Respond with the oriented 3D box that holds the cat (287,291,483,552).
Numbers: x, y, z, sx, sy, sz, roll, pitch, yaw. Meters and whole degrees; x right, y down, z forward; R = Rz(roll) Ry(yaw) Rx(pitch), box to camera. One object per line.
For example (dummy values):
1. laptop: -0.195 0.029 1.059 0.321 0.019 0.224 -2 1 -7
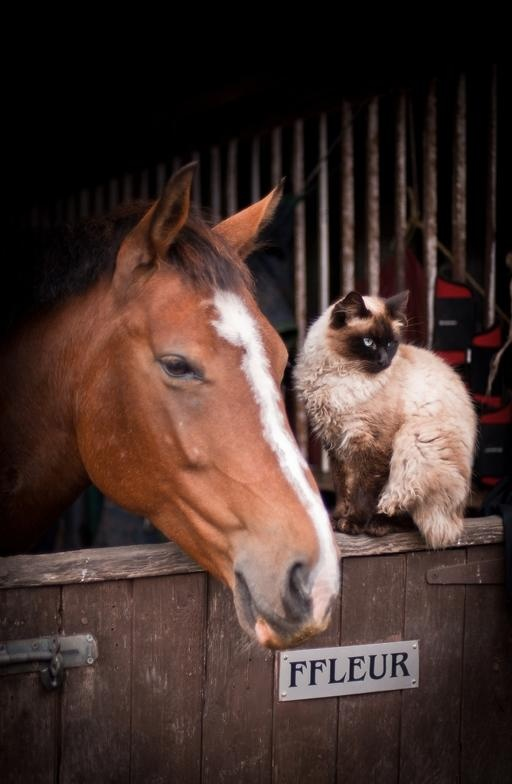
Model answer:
1. cat: 0.403 0.045 3.494 0.506 0.815 0.454 -6 24 -18
